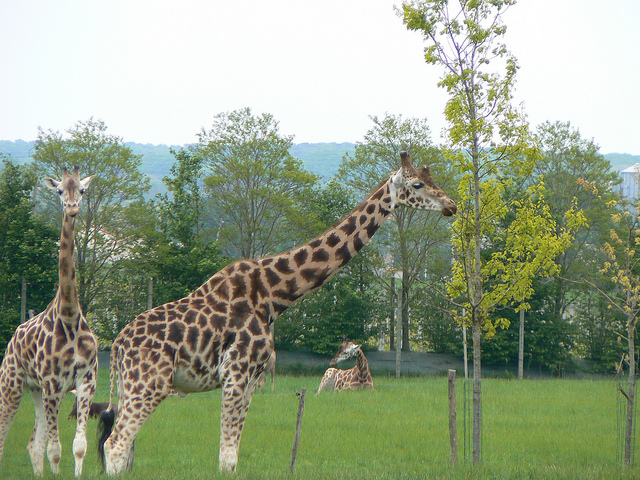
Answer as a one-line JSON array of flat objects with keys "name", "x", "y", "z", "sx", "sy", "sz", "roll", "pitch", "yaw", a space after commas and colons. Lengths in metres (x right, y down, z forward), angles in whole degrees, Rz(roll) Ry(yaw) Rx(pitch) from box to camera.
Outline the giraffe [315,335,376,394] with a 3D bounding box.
[{"name": "giraffe", "x": 0.807, "y": 6.074, "z": 58.020, "sx": 2.765, "sy": 3.371, "sz": 0.931, "roll": 21, "pitch": 10, "yaw": -16}]
